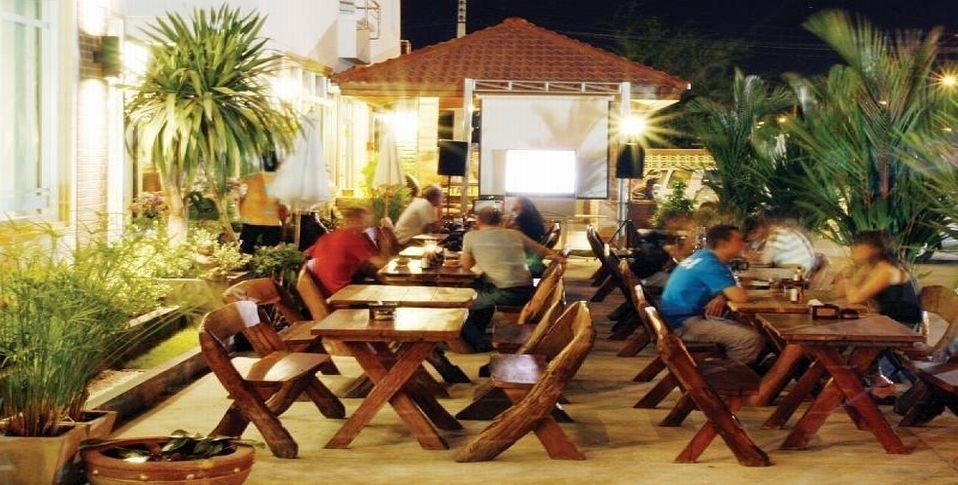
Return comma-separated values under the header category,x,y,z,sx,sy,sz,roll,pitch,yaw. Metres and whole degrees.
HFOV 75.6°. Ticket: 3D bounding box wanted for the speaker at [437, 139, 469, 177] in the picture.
category,x,y,z,sx,sy,sz,roll,pitch,yaw
speaker,-0.503,-2.228,16.610,1.161,0.810,0.963,1,5,4
